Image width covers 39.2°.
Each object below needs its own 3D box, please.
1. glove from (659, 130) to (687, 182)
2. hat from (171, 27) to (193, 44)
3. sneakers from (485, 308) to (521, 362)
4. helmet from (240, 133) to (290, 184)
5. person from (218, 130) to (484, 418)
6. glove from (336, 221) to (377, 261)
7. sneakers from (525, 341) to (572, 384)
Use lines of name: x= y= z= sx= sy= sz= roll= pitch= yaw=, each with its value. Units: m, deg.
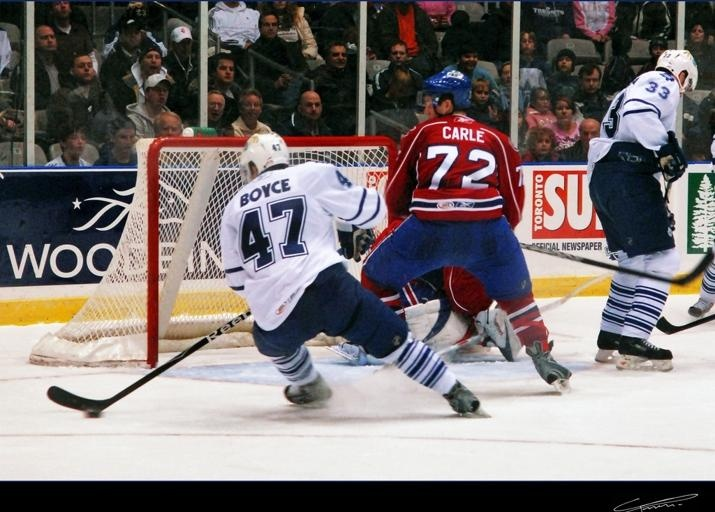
glove: x=1.869 y=-0.598 z=6.026 sx=0.132 sy=0.254 sz=0.205 roll=-26 pitch=-7 yaw=-8
hat: x=-1.347 y=-1.694 z=7.735 sx=0.120 sy=0.130 sz=0.142 roll=-16 pitch=12 yaw=-25
sneakers: x=0.875 y=0.482 z=5.973 sx=0.141 sy=0.353 sz=0.157 roll=-35 pitch=29 yaw=-20
helmet: x=-0.503 y=-0.513 z=5.181 sx=0.226 sy=0.223 sz=0.269 roll=-8 pitch=22 yaw=-29
person: x=0.006 y=0.137 z=5.368 sx=1.217 sy=1.702 sz=1.023 roll=-18 pitch=16 yaw=-2
glove: x=-0.004 y=-0.081 z=5.316 sx=0.162 sy=0.218 sz=0.127 roll=-4 pitch=-5 yaw=-14
sneakers: x=1.019 y=0.589 z=5.480 sx=0.187 sy=0.116 sz=0.274 roll=-28 pitch=62 yaw=-33
